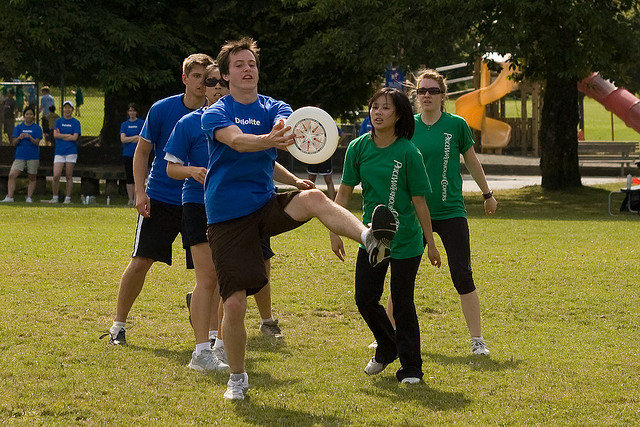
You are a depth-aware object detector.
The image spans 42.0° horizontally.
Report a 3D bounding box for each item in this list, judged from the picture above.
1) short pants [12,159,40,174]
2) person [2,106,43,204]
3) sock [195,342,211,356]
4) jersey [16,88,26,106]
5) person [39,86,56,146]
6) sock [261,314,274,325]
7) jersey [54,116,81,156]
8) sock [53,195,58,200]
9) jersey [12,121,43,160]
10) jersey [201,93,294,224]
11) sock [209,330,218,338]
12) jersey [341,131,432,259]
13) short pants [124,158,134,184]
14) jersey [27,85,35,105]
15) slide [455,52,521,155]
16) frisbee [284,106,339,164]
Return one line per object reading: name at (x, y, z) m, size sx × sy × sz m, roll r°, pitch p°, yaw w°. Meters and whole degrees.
short pants at (-6.793, -1.119, 19.149) m, size 0.613 × 0.434 × 0.322 m, roll 5°, pitch -5°, yaw -13°
person at (-6.826, -1.294, 19.131) m, size 0.773 × 2.168 × 1.417 m, roll -2°, pitch 14°, yaw -11°
sock at (-1.315, 1.496, 9.255) m, size 0.172 × 0.128 × 0.135 m, roll -1°, pitch 14°, yaw -7°
jersey at (-9.547, -3.693, 26.541) m, size 0.200 × 0.536 × 0.740 m, roll -7°, pitch 16°, yaw -30°
person at (-8.445, -3.073, 25.863) m, size 0.580 × 1.643 × 0.551 m, roll 3°, pitch 4°, yaw -32°
sock at (-0.660, 1.316, 10.276) m, size 0.143 × 0.092 × 0.119 m, roll -1°, pitch 14°, yaw -7°
jersey at (-5.797, -1.776, 18.807) m, size 0.701 × 0.836 × 0.330 m, roll 2°, pitch 13°, yaw -28°
sock at (-6.020, -0.362, 18.914) m, size 0.078 × 0.069 × 0.074 m, roll 0°, pitch -3°, yaw 6°
jersey at (-6.748, -1.681, 19.337) m, size 0.776 × 0.846 × 0.469 m, roll 0°, pitch 5°, yaw 0°
jersey at (-0.745, -0.576, 8.593) m, size 1.020 × 1.255 × 0.947 m, roll -1°, pitch 4°, yaw -20°
sock at (-1.269, 1.429, 9.823) m, size 0.078 × 0.055 × 0.079 m, roll -14°, pitch -15°, yaw 41°
jersey at (0.698, -0.199, 8.981) m, size 0.925 × 1.328 × 0.442 m, roll 2°, pitch 14°, yaw 6°
short pants at (-4.281, -0.941, 18.587) m, size 0.170 × 0.596 × 0.468 m, roll -3°, pitch 14°, yaw -16°
jersey at (-8.744, -3.591, 25.192) m, size 0.162 × 0.624 × 0.617 m, roll -5°, pitch 15°, yaw -21°
slide at (6.871, -4.102, 34.662) m, size 2.210 × 3.688 × 4.093 m, roll 4°, pitch 14°, yaw 12°
frisbee at (-0.103, -0.768, 8.270) m, size 0.528 × 0.557 × 0.293 m, roll 0°, pitch 14°, yaw -1°
